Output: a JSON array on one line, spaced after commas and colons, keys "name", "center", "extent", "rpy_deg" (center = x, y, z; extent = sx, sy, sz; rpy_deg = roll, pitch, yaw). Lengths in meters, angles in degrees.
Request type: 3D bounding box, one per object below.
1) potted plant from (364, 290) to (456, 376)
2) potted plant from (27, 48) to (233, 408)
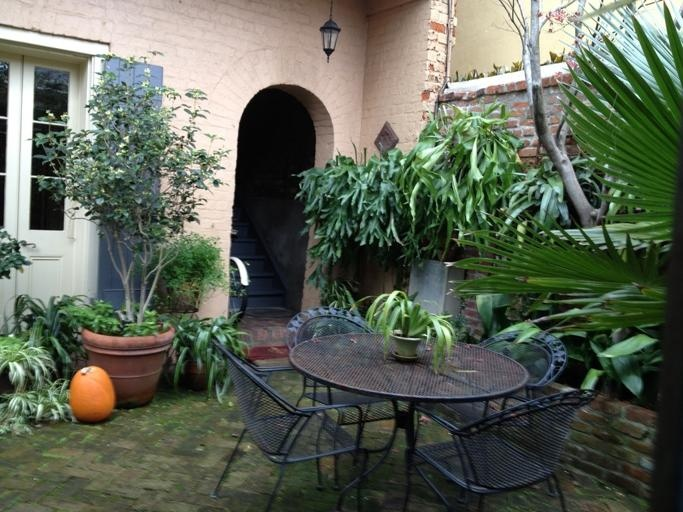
[{"name": "potted plant", "center": [0.425, 0.429, 2.706], "extent": [0.571, 0.334, 0.537], "rpy_deg": [9, 9, 10]}, {"name": "potted plant", "center": [-1.874, -0.338, 3.977], "extent": [1.457, 3.136, 1.304], "rpy_deg": [1, 7, -25]}]
